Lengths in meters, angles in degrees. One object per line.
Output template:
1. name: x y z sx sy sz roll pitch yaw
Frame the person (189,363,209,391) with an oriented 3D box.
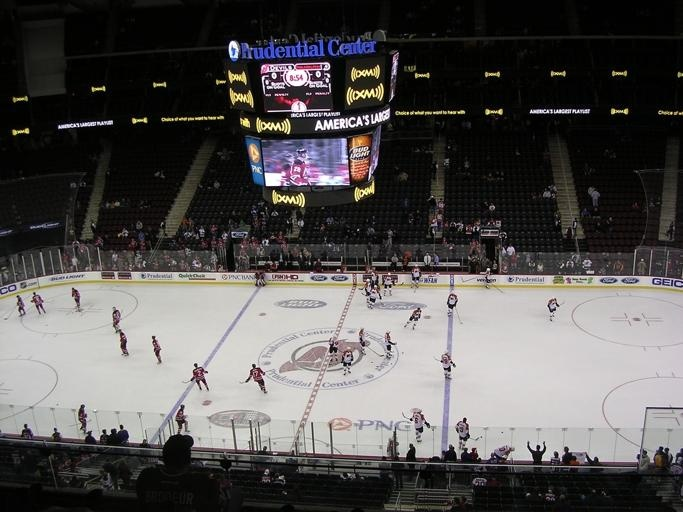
1. person: -6.105 5.209 30.751 0.792 1.209 1.488 1 2 -13

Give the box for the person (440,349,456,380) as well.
1. person: 4.707 4.735 30.918 0.583 1.167 1.883 2 2 9

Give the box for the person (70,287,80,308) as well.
1. person: -14.609 2.418 39.316 0.412 1.124 1.214 1 2 -18

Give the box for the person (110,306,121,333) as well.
1. person: -11.616 3.287 36.774 0.439 1.215 2.427 1 2 -18

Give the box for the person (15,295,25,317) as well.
1. person: -17.432 2.754 38.765 0.407 1.072 1.763 1 2 -24

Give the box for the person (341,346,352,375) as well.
1. person: 0.289 4.698 31.354 0.413 1.119 0.639 2 2 -6

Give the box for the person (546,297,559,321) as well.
1. person: 10.710 2.683 35.691 0.541 1.085 2.191 2 2 17

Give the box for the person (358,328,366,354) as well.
1. person: 0.981 4.058 33.123 0.424 0.358 1.327 -1 -43 6

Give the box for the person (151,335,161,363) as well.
1. person: -8.616 4.366 33.370 0.384 1.257 2.301 1 2 -15

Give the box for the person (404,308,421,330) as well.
1. person: 3.631 3.104 35.495 0.819 0.988 2.402 2 2 6

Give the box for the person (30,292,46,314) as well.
1. person: -16.518 2.618 38.913 0.638 1.130 2.160 1 2 -22

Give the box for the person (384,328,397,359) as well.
1. person: 2.294 4.183 32.993 0.388 0.517 1.169 -12 -43 2

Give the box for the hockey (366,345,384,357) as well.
1. hockey: 1.485 4.487 33.139 0.282 0.022 0.956 -33 29 -15
